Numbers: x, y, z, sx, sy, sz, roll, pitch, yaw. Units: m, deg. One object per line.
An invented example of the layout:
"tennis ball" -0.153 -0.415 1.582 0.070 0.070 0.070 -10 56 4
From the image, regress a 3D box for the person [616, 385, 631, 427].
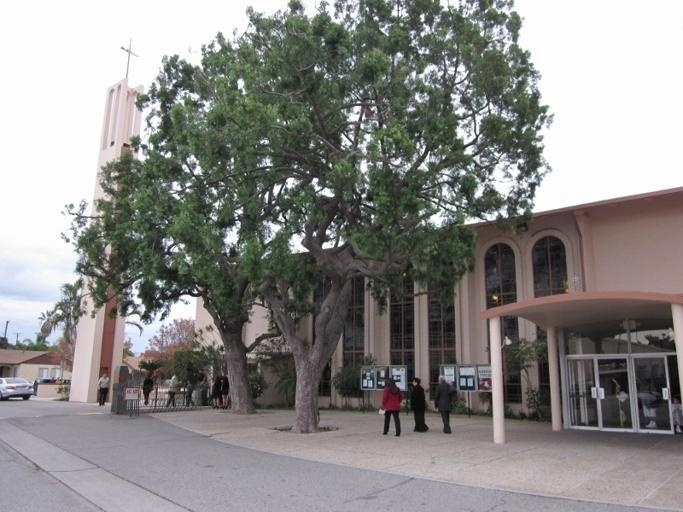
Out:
"person" 10.501 5.591 17.603 0.408 1.509 0.263 -8 -14 31

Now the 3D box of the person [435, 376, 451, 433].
"person" 3.884 5.595 17.969 0.503 2.021 1.461 -3 -13 11

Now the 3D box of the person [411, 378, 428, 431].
"person" 2.975 5.644 18.030 0.621 1.933 1.468 -3 -13 10

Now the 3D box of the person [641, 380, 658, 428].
"person" 11.200 5.426 17.242 0.468 1.615 0.227 -8 -14 32

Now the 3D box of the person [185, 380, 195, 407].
"person" -10.002 9.027 31.261 0.483 1.458 2.167 4 -15 -18

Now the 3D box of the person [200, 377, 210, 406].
"person" -8.707 8.582 30.271 0.498 1.762 0.924 3 -13 -18
